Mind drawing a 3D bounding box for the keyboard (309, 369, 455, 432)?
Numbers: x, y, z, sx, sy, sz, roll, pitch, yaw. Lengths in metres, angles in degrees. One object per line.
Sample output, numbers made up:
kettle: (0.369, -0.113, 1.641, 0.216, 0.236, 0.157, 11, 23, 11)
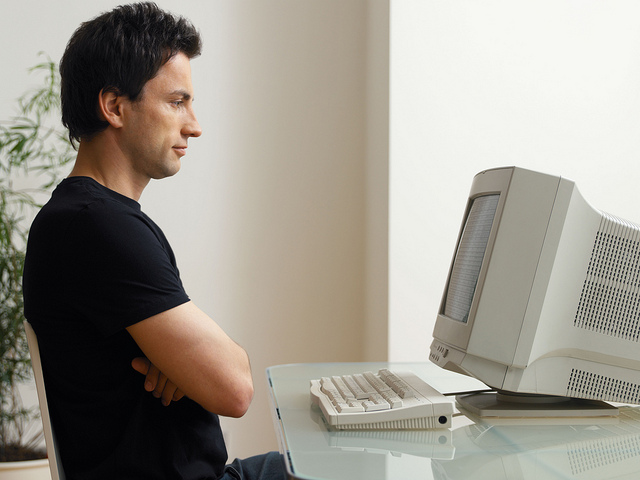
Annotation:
keyboard: (0.135, 0.387, 1.363, 0.314, 0.068, 0.307, -1, 5, -4)

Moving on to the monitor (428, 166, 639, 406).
monitor: (0.521, 0.142, 1.584, 0.564, 0.572, 0.572, 13, -1, -5)
